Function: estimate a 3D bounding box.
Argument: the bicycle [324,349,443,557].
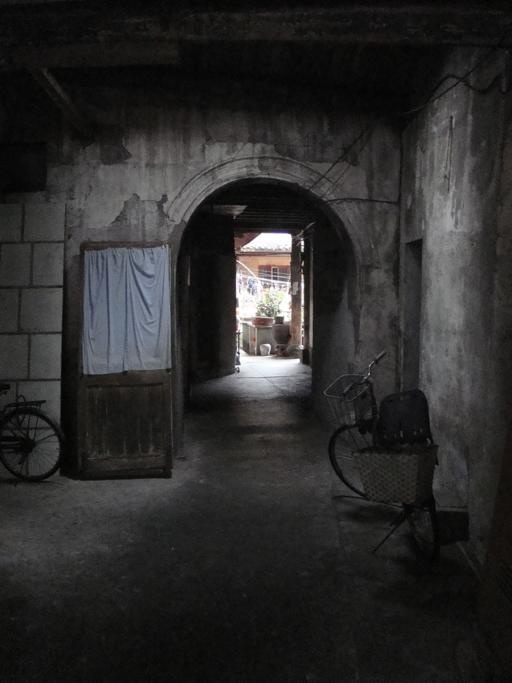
[{"bbox_3d":[0.999,0.813,4.503,0.469,1.256,1.574,-4,-13,-6],"label":"bicycle"}]

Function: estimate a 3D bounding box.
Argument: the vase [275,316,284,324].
[{"bbox_3d":[0.717,-0.668,19.381,0.169,0.199,0.214,0,2,-2],"label":"vase"}]

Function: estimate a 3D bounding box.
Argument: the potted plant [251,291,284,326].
[{"bbox_3d":[0.390,-1.072,20.107,0.941,1.082,1.693,0,3,3],"label":"potted plant"}]

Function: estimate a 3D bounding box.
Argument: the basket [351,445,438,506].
[{"bbox_3d":[0.834,0.793,3.723,0.360,0.355,0.349,-3,0,23],"label":"basket"}]

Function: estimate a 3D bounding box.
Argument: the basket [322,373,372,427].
[{"bbox_3d":[0.997,0.638,6.758,0.356,0.511,0.415,-20,27,18],"label":"basket"}]
